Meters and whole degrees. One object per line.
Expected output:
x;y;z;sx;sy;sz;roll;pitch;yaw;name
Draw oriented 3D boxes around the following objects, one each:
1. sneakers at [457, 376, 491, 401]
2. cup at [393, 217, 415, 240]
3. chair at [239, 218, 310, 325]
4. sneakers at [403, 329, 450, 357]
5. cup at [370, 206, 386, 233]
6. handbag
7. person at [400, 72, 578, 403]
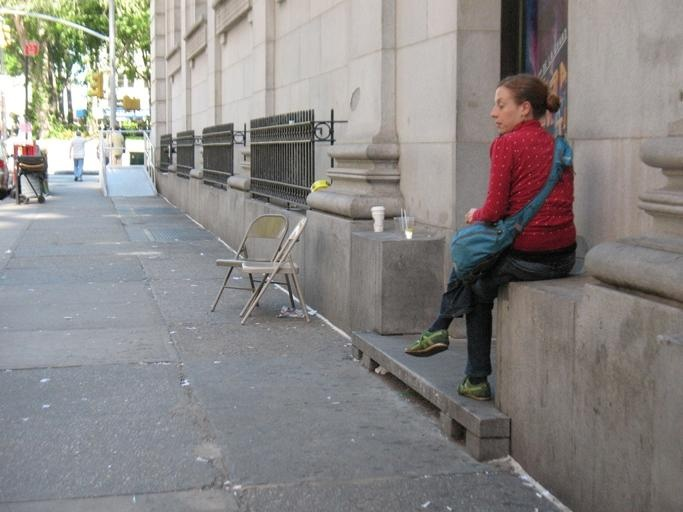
0.901;0.903;4.509;0.096;0.119;0.253;-3;5;-25;sneakers
0.604;-0.284;6.450;0.196;0.229;0.210;-3;0;0;cup
-0.844;0.096;8.403;0.834;1.233;1.765;0;8;-6;chair
0.619;0.614;4.663;0.380;0.180;0.144;-24;-27;33;sneakers
0.383;-0.394;6.948;0.119;0.270;0.231;1;8;5;cup
0.872;-0.041;4.100;0.368;0.380;0.176;3;8;16;handbag
1.012;-0.076;4.221;0.912;2.151;0.518;3;8;21;person
